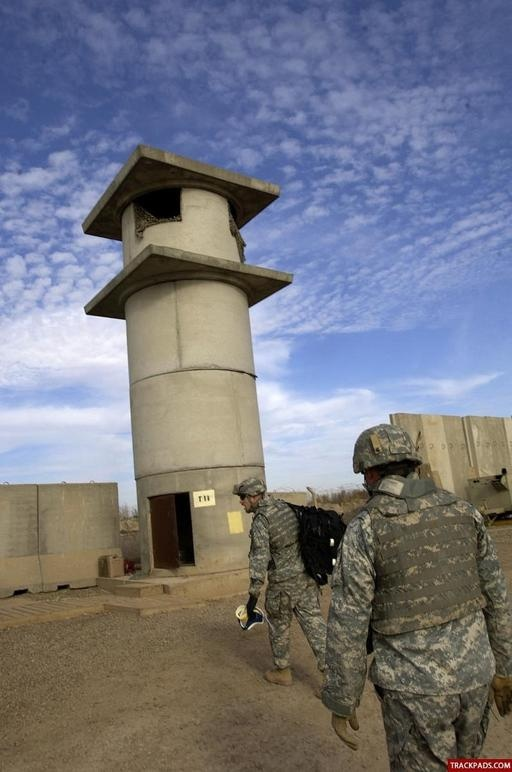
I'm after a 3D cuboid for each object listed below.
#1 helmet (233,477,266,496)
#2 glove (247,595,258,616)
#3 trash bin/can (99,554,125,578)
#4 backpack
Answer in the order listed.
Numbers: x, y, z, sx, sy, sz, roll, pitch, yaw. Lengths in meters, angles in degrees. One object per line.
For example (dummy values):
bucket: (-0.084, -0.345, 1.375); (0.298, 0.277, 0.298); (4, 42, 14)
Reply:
helmet: (-0.047, 0.967, 4.924); (0.358, 0.125, 0.264); (-5, -7, 5)
glove: (-0.033, 1.893, 4.502); (0.077, 0.178, 0.171); (1, -11, 0)
trash bin/can: (-3.161, 3.866, 11.324); (0.523, 0.464, 0.509); (-6, -12, 22)
backpack: (0.607, 1.377, 4.584); (0.481, 0.592, 0.537); (-8, -20, 17)
